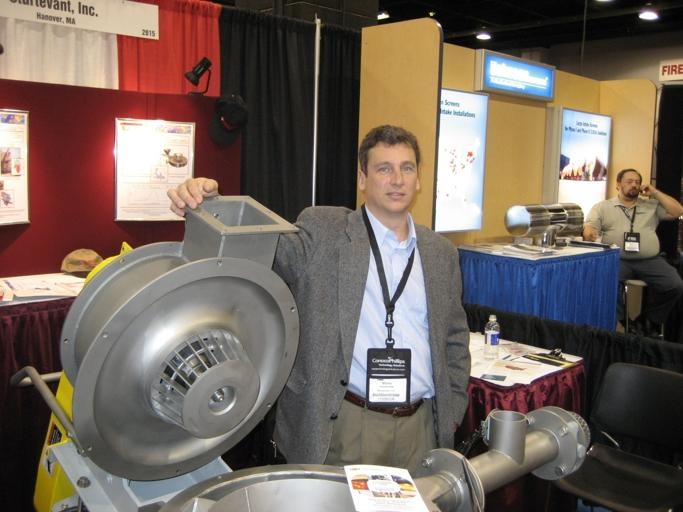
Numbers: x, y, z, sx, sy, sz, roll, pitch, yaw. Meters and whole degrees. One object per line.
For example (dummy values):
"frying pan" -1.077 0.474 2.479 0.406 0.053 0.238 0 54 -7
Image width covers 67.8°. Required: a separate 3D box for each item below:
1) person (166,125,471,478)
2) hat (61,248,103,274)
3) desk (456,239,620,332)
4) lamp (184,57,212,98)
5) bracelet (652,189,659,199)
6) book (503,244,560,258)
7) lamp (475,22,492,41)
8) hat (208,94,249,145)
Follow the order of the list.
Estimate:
"person" 0.146 0.154 1.944 0.814 1.287 0.367 -3 9 -19
"hat" -2.066 0.041 4.015 0.222 0.120 0.256 14 23 36
"desk" 1.967 0.106 5.281 1.596 1.265 0.951 -4 9 -36
"lamp" -1.282 -1.595 4.543 0.229 0.332 0.395 -2 10 -16
"bracelet" 4.106 -0.811 6.599 0.026 0.124 0.077 5 5 42
"book" 1.878 -0.049 4.967 0.561 0.065 0.541 3 11 10
"lamp" 3.140 -4.957 11.171 0.296 0.363 0.382 7 50 7
"hat" -0.987 -1.169 4.466 0.283 0.464 0.234 1 27 -42
